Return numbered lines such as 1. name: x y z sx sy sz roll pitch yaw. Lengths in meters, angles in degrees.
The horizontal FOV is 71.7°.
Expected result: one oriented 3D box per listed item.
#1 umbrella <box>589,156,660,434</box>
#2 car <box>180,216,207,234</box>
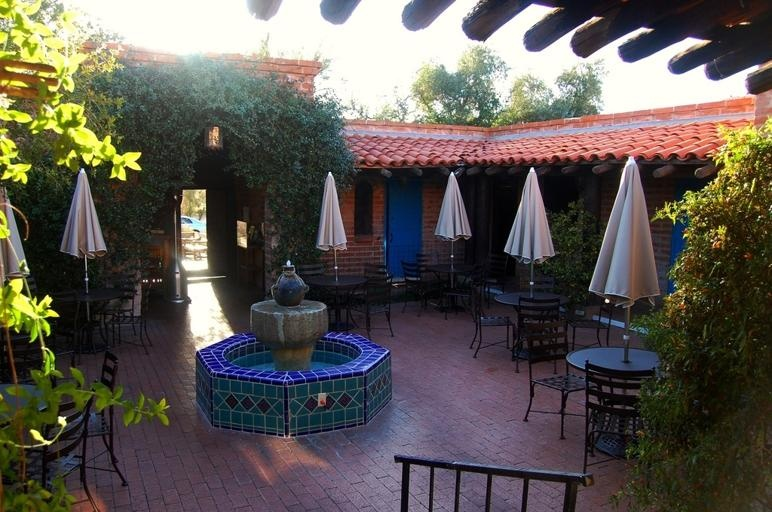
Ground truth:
1. umbrella: 2.932 -0.018 6.567 0.761 2.480 0.824 2 4 25
2. car: -10.130 -1.779 28.318 0.996 0.828 4.141 -1 3 -19
